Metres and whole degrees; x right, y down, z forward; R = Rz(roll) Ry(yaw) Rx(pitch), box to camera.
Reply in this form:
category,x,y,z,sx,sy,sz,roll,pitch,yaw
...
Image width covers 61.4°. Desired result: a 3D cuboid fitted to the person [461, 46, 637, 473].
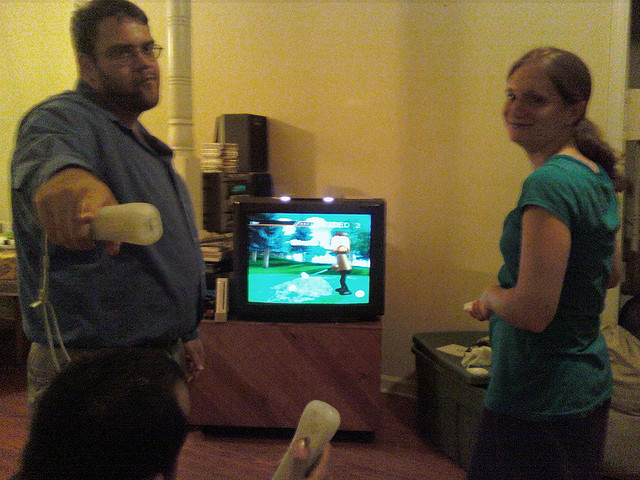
category,x,y,z,sx,sy,sz,roll,pitch,yaw
person,0.544,0.071,1.300,0.354,1.047,0.299,1,11,13

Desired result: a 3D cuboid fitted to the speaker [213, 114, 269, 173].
category,x,y,z,sx,sy,sz,roll,pitch,yaw
speaker,-0.462,-0.580,3.327,0.244,0.336,0.235,4,13,21

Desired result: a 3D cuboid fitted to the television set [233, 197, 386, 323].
category,x,y,z,sx,sy,sz,roll,pitch,yaw
television set,0.052,0.100,3.039,0.930,0.613,0.480,0,0,27

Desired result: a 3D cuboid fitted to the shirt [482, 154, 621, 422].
category,x,y,z,sx,sy,sz,roll,pitch,yaw
shirt,0.555,0.110,1.286,0.285,0.617,0.218,2,11,17

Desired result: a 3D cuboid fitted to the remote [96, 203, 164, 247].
category,x,y,z,sx,sy,sz,roll,pitch,yaw
remote,-0.269,-0.031,0.808,0.065,0.088,0.053,20,46,16

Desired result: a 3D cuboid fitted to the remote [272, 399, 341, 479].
category,x,y,z,sx,sy,sz,roll,pitch,yaw
remote,-0.011,0.270,0.791,0.086,0.098,0.141,0,9,8
